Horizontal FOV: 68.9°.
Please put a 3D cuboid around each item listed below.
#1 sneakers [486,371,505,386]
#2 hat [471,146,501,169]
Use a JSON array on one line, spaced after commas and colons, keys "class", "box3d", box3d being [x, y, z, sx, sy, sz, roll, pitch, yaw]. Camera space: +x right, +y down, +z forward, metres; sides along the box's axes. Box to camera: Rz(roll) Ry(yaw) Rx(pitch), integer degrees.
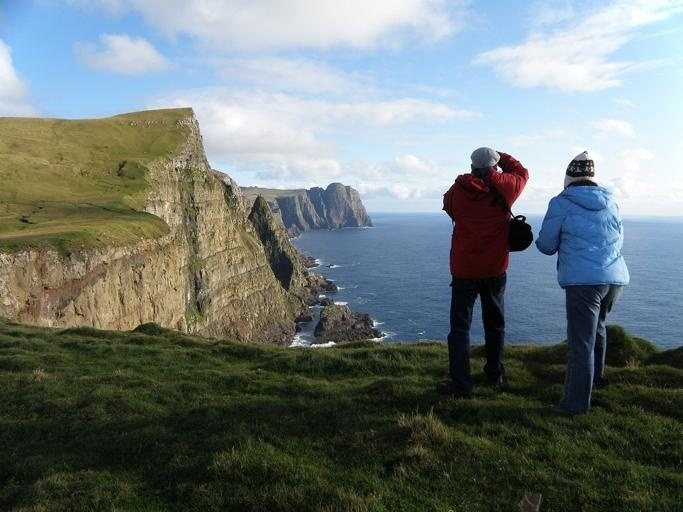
[{"class": "sneakers", "box3d": [3.529, 2.820, 11.456, 0.262, 0.138, 0.343, 3, -1, -14]}, {"class": "hat", "box3d": [3.144, -2.168, 10.946, 0.604, 0.448, 0.346, -4, 11, 10]}]
